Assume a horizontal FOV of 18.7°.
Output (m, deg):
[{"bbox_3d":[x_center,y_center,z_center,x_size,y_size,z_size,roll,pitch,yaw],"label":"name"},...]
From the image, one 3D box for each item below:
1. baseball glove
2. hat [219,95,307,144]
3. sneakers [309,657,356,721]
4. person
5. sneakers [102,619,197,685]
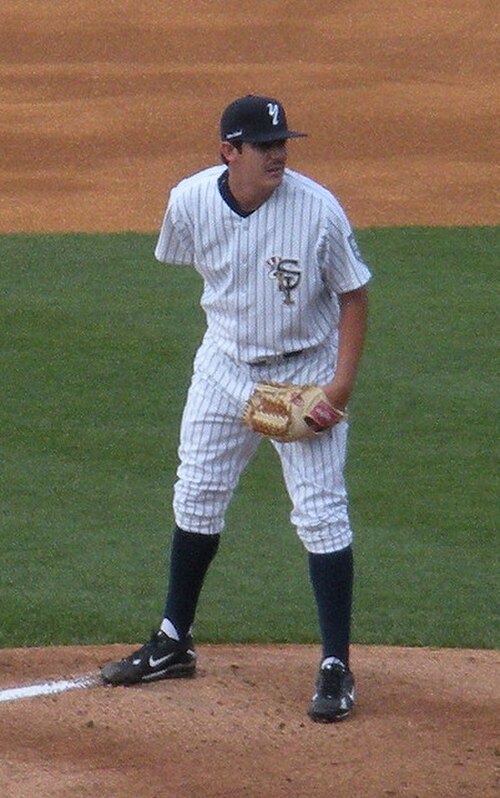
[{"bbox_3d":[0.149,0.037,5.442,0.343,0.136,0.245,24,45,35],"label":"baseball glove"},{"bbox_3d":[0.044,-0.989,5.370,0.252,0.133,0.167,5,13,30],"label":"hat"},{"bbox_3d":[0.291,1.051,5.445,0.154,0.178,0.195,0,14,2],"label":"sneakers"},{"bbox_3d":[-0.005,0.028,5.542,0.865,2.215,0.670,3,14,14],"label":"person"},{"bbox_3d":[-0.370,0.967,5.870,0.437,0.230,0.150,-8,29,-17],"label":"sneakers"}]
